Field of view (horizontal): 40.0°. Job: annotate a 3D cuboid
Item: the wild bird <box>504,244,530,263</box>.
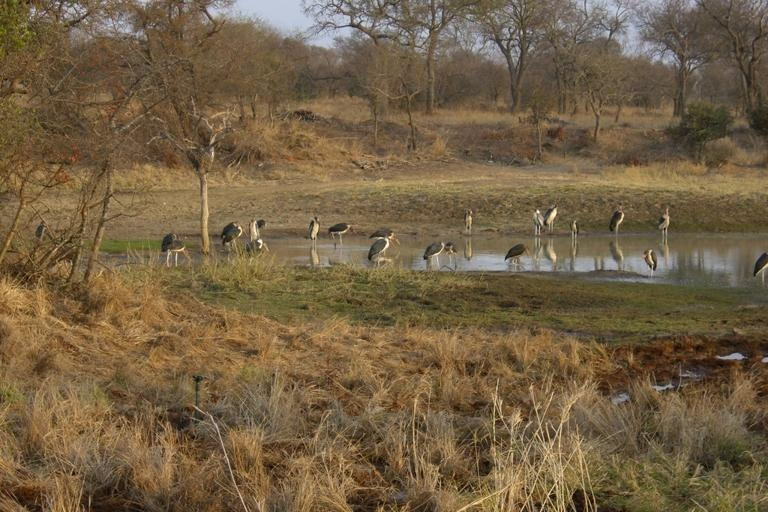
[{"bbox_3d":[4.114,-0.120,32.255,0.806,0.690,0.466,-6,22,-11],"label":"wild bird"}]
